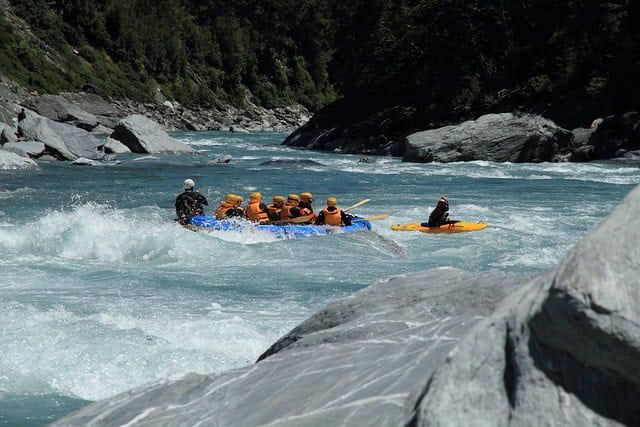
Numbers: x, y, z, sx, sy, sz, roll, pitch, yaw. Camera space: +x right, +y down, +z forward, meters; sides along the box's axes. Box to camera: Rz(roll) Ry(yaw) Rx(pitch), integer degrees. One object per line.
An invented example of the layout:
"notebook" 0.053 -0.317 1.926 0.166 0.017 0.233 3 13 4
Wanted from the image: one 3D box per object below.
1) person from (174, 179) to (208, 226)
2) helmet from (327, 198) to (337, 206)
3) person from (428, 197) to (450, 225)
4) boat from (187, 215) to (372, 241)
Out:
"person" -3.224 -0.292 13.295 0.742 1.037 0.932 -1 22 -9
"helmet" 0.291 -0.299 13.634 0.267 0.195 0.256 3 18 3
"person" 3.171 -0.024 14.252 0.531 0.710 0.575 5 23 6
"boat" -1.138 0.343 12.936 4.691 0.505 1.224 3 1 -15
